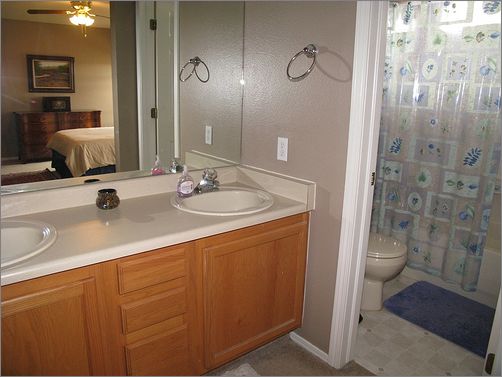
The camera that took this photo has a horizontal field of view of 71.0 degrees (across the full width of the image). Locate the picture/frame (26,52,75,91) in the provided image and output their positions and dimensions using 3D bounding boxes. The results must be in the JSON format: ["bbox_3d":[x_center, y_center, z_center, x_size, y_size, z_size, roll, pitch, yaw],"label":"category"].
[{"bbox_3d":[-1.048,-0.612,1.826,0.207,0.199,0.014,-4,9,-37],"label":"picture/frame"}]

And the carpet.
[{"bbox_3d":[1.473,0.954,2.731,0.710,0.070,0.625,14,20,42],"label":"carpet"}]

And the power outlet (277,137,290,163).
[{"bbox_3d":[0.203,-0.249,2.203,0.017,0.216,0.120,-8,16,-38],"label":"power outlet"}]

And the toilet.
[{"bbox_3d":[1.041,0.676,2.753,0.283,0.517,0.409,7,16,23],"label":"toilet"}]

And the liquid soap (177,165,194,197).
[{"bbox_3d":[-0.404,-0.055,2.150,0.100,0.174,0.190,-3,15,-12],"label":"liquid soap"}]

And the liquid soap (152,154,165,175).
[{"bbox_3d":[-0.581,-0.143,2.177,0.045,0.115,0.077,6,16,21],"label":"liquid soap"}]
